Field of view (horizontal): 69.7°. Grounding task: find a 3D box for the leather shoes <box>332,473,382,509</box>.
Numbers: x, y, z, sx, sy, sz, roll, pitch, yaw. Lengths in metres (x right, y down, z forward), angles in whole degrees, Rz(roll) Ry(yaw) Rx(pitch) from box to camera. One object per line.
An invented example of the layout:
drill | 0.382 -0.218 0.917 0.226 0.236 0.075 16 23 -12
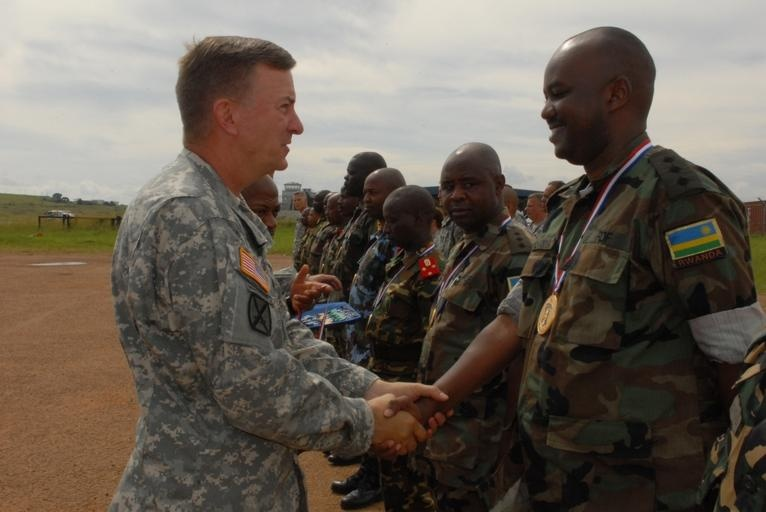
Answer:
leather shoes | -0.142 2.208 5.165 0.610 0.234 0.202 13 -18 -41
